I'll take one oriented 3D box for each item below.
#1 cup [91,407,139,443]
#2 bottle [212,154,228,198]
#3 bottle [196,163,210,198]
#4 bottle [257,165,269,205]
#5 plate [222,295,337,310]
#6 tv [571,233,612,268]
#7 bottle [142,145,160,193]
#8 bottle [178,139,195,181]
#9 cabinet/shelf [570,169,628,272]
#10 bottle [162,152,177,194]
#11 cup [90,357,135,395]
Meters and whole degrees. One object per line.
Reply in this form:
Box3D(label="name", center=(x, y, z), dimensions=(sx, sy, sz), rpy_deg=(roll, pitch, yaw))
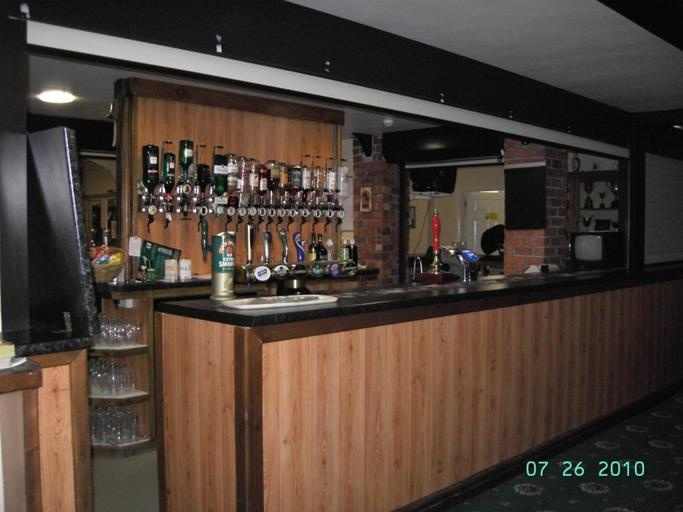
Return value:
Box3D(label="cup", center=(-1.626, 1.224, 4.143), dimensions=(0.265, 0.198, 0.264), rpy_deg=(1, -5, 0))
Box3D(label="bottle", center=(-1.056, -0.705, 5.071), dimensions=(0.148, 0.368, 0.124), rpy_deg=(-3, 15, -33))
Box3D(label="bottle", center=(-1.189, -0.665, 5.022), dimensions=(0.075, 0.277, 0.150), rpy_deg=(13, 15, 33))
Box3D(label="bottle", center=(-0.746, -0.674, 5.373), dimensions=(0.114, 0.408, 0.113), rpy_deg=(0, 6, 0))
Box3D(label="plate", center=(-0.299, 0.229, 2.887), dimensions=(0.331, 0.024, 0.203), rpy_deg=(-1, 1, -30))
Box3D(label="tv", center=(2.289, -0.041, 5.322), dimensions=(0.308, 0.354, 0.293), rpy_deg=(4, -10, 26))
Box3D(label="bottle", center=(-1.571, -0.711, 4.726), dimensions=(0.133, 0.384, 0.109), rpy_deg=(3, 12, -12))
Box3D(label="bottle", center=(-1.343, -0.833, 4.986), dimensions=(0.134, 0.342, 0.234), rpy_deg=(1, 13, -18))
Box3D(label="cabinet/shelf", center=(3.747, -0.387, 8.419), dimensions=(0.489, 1.626, 0.837), rpy_deg=(-15, 23, 2))
Box3D(label="bottle", center=(-1.471, -0.712, 4.910), dimensions=(0.110, 0.340, 0.164), rpy_deg=(1, 13, -19))
Box3D(label="cup", center=(-1.652, 0.888, 4.189), dimensions=(0.217, 0.296, 0.402), rpy_deg=(-7, -9, 34))
